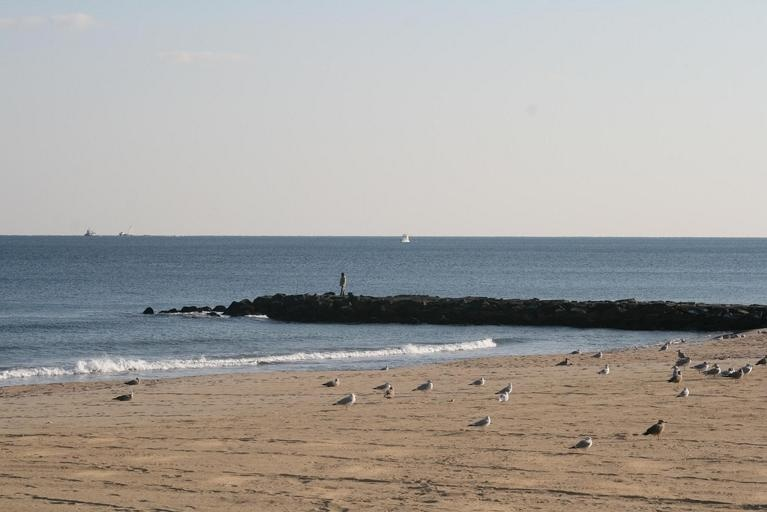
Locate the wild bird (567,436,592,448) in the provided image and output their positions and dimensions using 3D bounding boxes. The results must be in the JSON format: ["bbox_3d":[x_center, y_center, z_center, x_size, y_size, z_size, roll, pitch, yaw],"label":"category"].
[{"bbox_3d":[8.433,7.843,58.290,1.107,0.390,0.657,-9,12,-29],"label":"wild bird"}]
